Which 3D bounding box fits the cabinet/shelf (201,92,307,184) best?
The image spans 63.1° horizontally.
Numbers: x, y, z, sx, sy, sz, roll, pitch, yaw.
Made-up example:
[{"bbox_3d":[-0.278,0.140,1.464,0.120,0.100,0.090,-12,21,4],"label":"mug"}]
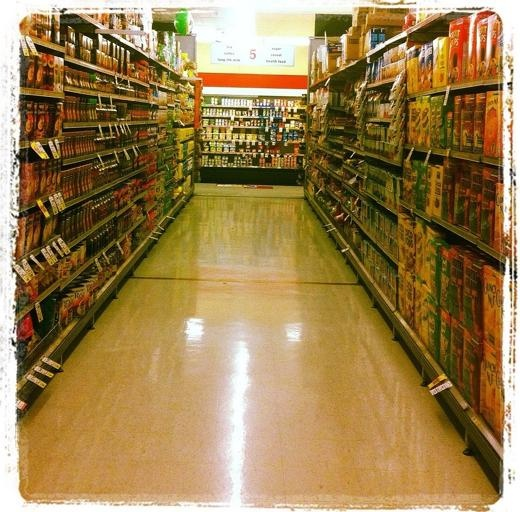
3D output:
[{"bbox_3d":[-0.145,-3.713,13.582,2.591,2.612,0.928,1,9,0],"label":"cabinet/shelf"}]
